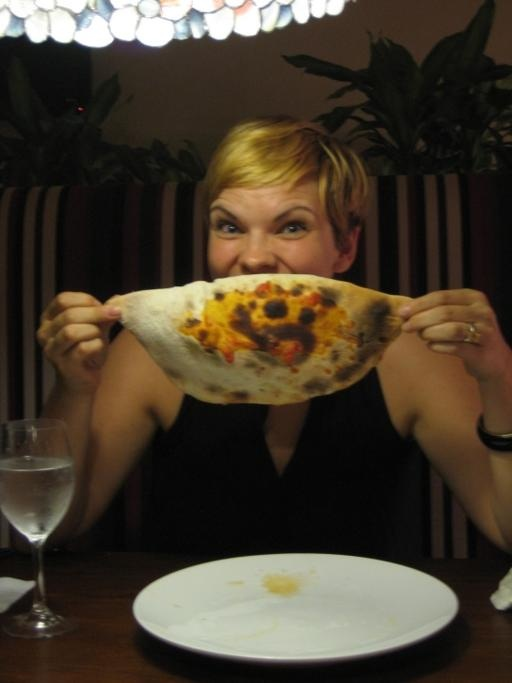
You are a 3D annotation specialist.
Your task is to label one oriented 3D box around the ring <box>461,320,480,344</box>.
[{"bbox_3d":[0.270,-0.010,0.938,0.023,0.022,0.009,-5,21,-17],"label":"ring"}]
